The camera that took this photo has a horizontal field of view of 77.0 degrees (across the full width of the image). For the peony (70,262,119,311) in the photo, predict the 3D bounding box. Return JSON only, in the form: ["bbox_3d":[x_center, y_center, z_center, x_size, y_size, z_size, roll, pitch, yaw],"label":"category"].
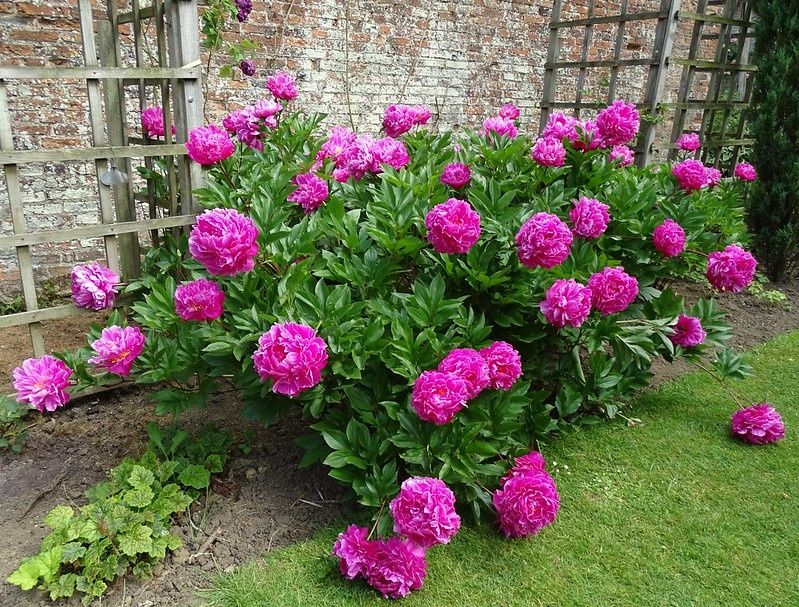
[{"bbox_3d":[-1.390,-0.089,2.395,0.188,0.221,0.220,-17,5,3],"label":"peony"}]

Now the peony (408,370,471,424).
[{"bbox_3d":[0.124,0.287,1.541,0.168,0.169,0.106,-4,-6,4],"label":"peony"}]

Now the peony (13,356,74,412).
[{"bbox_3d":[-1.416,0.314,2.019,0.175,0.229,0.260,-7,23,-25],"label":"peony"}]

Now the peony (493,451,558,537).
[{"bbox_3d":[0.472,0.749,1.946,0.224,0.272,0.208,2,21,-4],"label":"peony"}]
